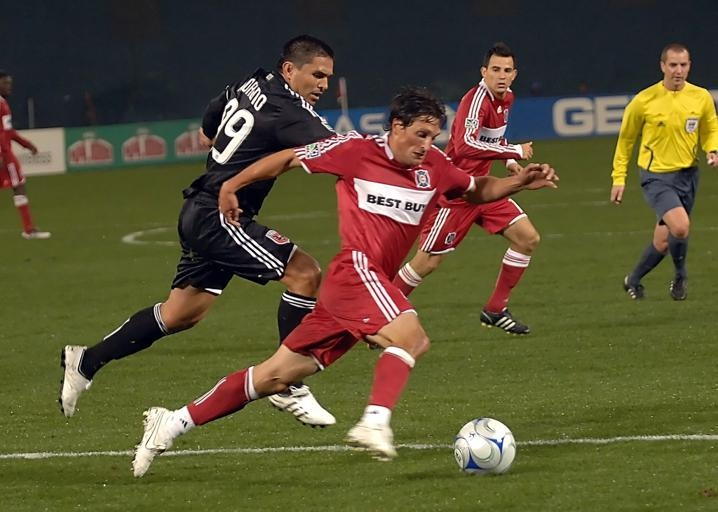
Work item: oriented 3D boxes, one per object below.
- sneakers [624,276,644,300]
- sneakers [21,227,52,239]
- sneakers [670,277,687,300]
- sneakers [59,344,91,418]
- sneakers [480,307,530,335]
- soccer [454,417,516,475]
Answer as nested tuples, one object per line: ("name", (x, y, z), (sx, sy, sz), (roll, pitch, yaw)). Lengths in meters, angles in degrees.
("sneakers", (2.751, 0.332, 10.469), (0.126, 0.138, 0.303), (-6, 13, -20))
("sneakers", (-4.167, -0.293, 13.825), (0.407, 0.163, 0.135), (-2, 16, -4))
("sneakers", (3.122, 0.321, 10.335), (0.151, 0.230, 0.140), (5, 7, 10))
("sneakers", (-2.220, 0.953, 8.279), (0.292, 0.576, 0.206), (0, 0, 9))
("sneakers", (1.347, 0.585, 9.837), (0.560, 0.245, 0.181), (9, 7, 14))
("soccer", (0.877, 1.331, 7.499), (0.429, 0.325, 0.326), (2, -20, -19))
